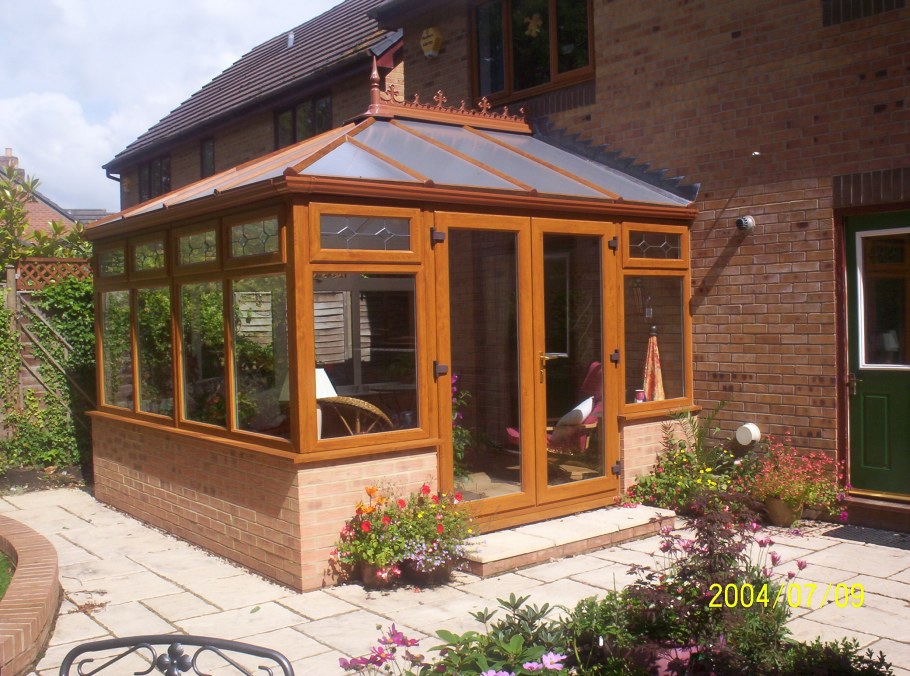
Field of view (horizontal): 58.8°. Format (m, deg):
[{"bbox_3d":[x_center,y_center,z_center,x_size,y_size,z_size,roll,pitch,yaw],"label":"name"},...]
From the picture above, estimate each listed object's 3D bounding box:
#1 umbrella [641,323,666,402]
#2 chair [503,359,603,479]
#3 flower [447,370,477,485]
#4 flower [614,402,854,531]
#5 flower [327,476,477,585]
[{"bbox_3d":[2.438,0.292,9.937,0.125,0.908,0.363,1,5,43],"label":"umbrella"},{"bbox_3d":[1.214,0.780,9.496,1.201,1.116,0.857,5,-3,-6],"label":"chair"},{"bbox_3d":[0.083,0.932,8.716,0.164,1.117,0.692,-1,4,8],"label":"flower"},{"bbox_3d":[3.360,1.541,9.445,1.344,0.818,1.803,-2,10,-14],"label":"flower"},{"bbox_3d":[-0.485,1.888,7.701,1.093,0.767,0.973,-2,7,-32],"label":"flower"}]
